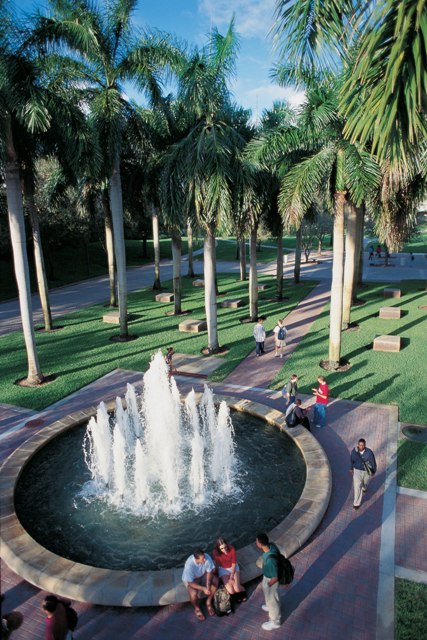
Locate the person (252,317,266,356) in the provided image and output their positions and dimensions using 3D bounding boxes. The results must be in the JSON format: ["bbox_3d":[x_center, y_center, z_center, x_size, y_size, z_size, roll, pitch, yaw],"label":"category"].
[{"bbox_3d":[1.859,0.688,15.839,0.356,1.269,0.960,-1,13,6],"label":"person"}]

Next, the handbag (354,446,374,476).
[{"bbox_3d":[2.572,2.419,6.710,0.392,0.403,0.227,8,17,37],"label":"handbag"}]

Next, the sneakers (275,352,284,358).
[{"bbox_3d":[2.596,1.365,15.383,0.156,0.151,0.404,-22,2,-4],"label":"sneakers"}]

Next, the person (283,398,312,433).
[{"bbox_3d":[2.136,2.449,9.977,0.536,0.827,0.341,-25,32,-28],"label":"person"}]

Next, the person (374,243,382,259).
[{"bbox_3d":[18.218,-7.578,43.156,0.294,1.436,2.179,2,15,19],"label":"person"}]

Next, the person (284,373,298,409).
[{"bbox_3d":[2.104,1.942,10.597,0.290,0.968,0.342,-5,51,5],"label":"person"}]

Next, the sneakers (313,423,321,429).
[{"bbox_3d":[2.677,2.713,10.051,0.107,0.119,0.237,-3,-2,-1],"label":"sneakers"}]

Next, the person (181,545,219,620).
[{"bbox_3d":[-0.173,3.257,4.936,0.343,0.896,0.429,-19,28,-35],"label":"person"}]

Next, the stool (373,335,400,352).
[{"bbox_3d":[6.758,0.828,15.248,0.670,0.297,0.707,4,19,27],"label":"stool"}]

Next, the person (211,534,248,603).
[{"bbox_3d":[0.208,3.183,4.938,0.313,0.859,0.438,-23,26,-18],"label":"person"}]

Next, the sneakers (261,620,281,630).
[{"bbox_3d":[0.673,3.614,4.665,0.197,0.106,0.096,3,4,0],"label":"sneakers"}]

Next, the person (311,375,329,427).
[{"bbox_3d":[2.709,2.031,9.954,0.328,1.401,0.371,3,14,21],"label":"person"}]

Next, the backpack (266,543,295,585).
[{"bbox_3d":[0.789,2.973,4.599,0.250,0.592,0.314,3,14,21],"label":"backpack"}]

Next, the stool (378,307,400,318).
[{"bbox_3d":[8.797,-0.392,19.496,0.991,0.453,0.790,2,15,21],"label":"stool"}]
